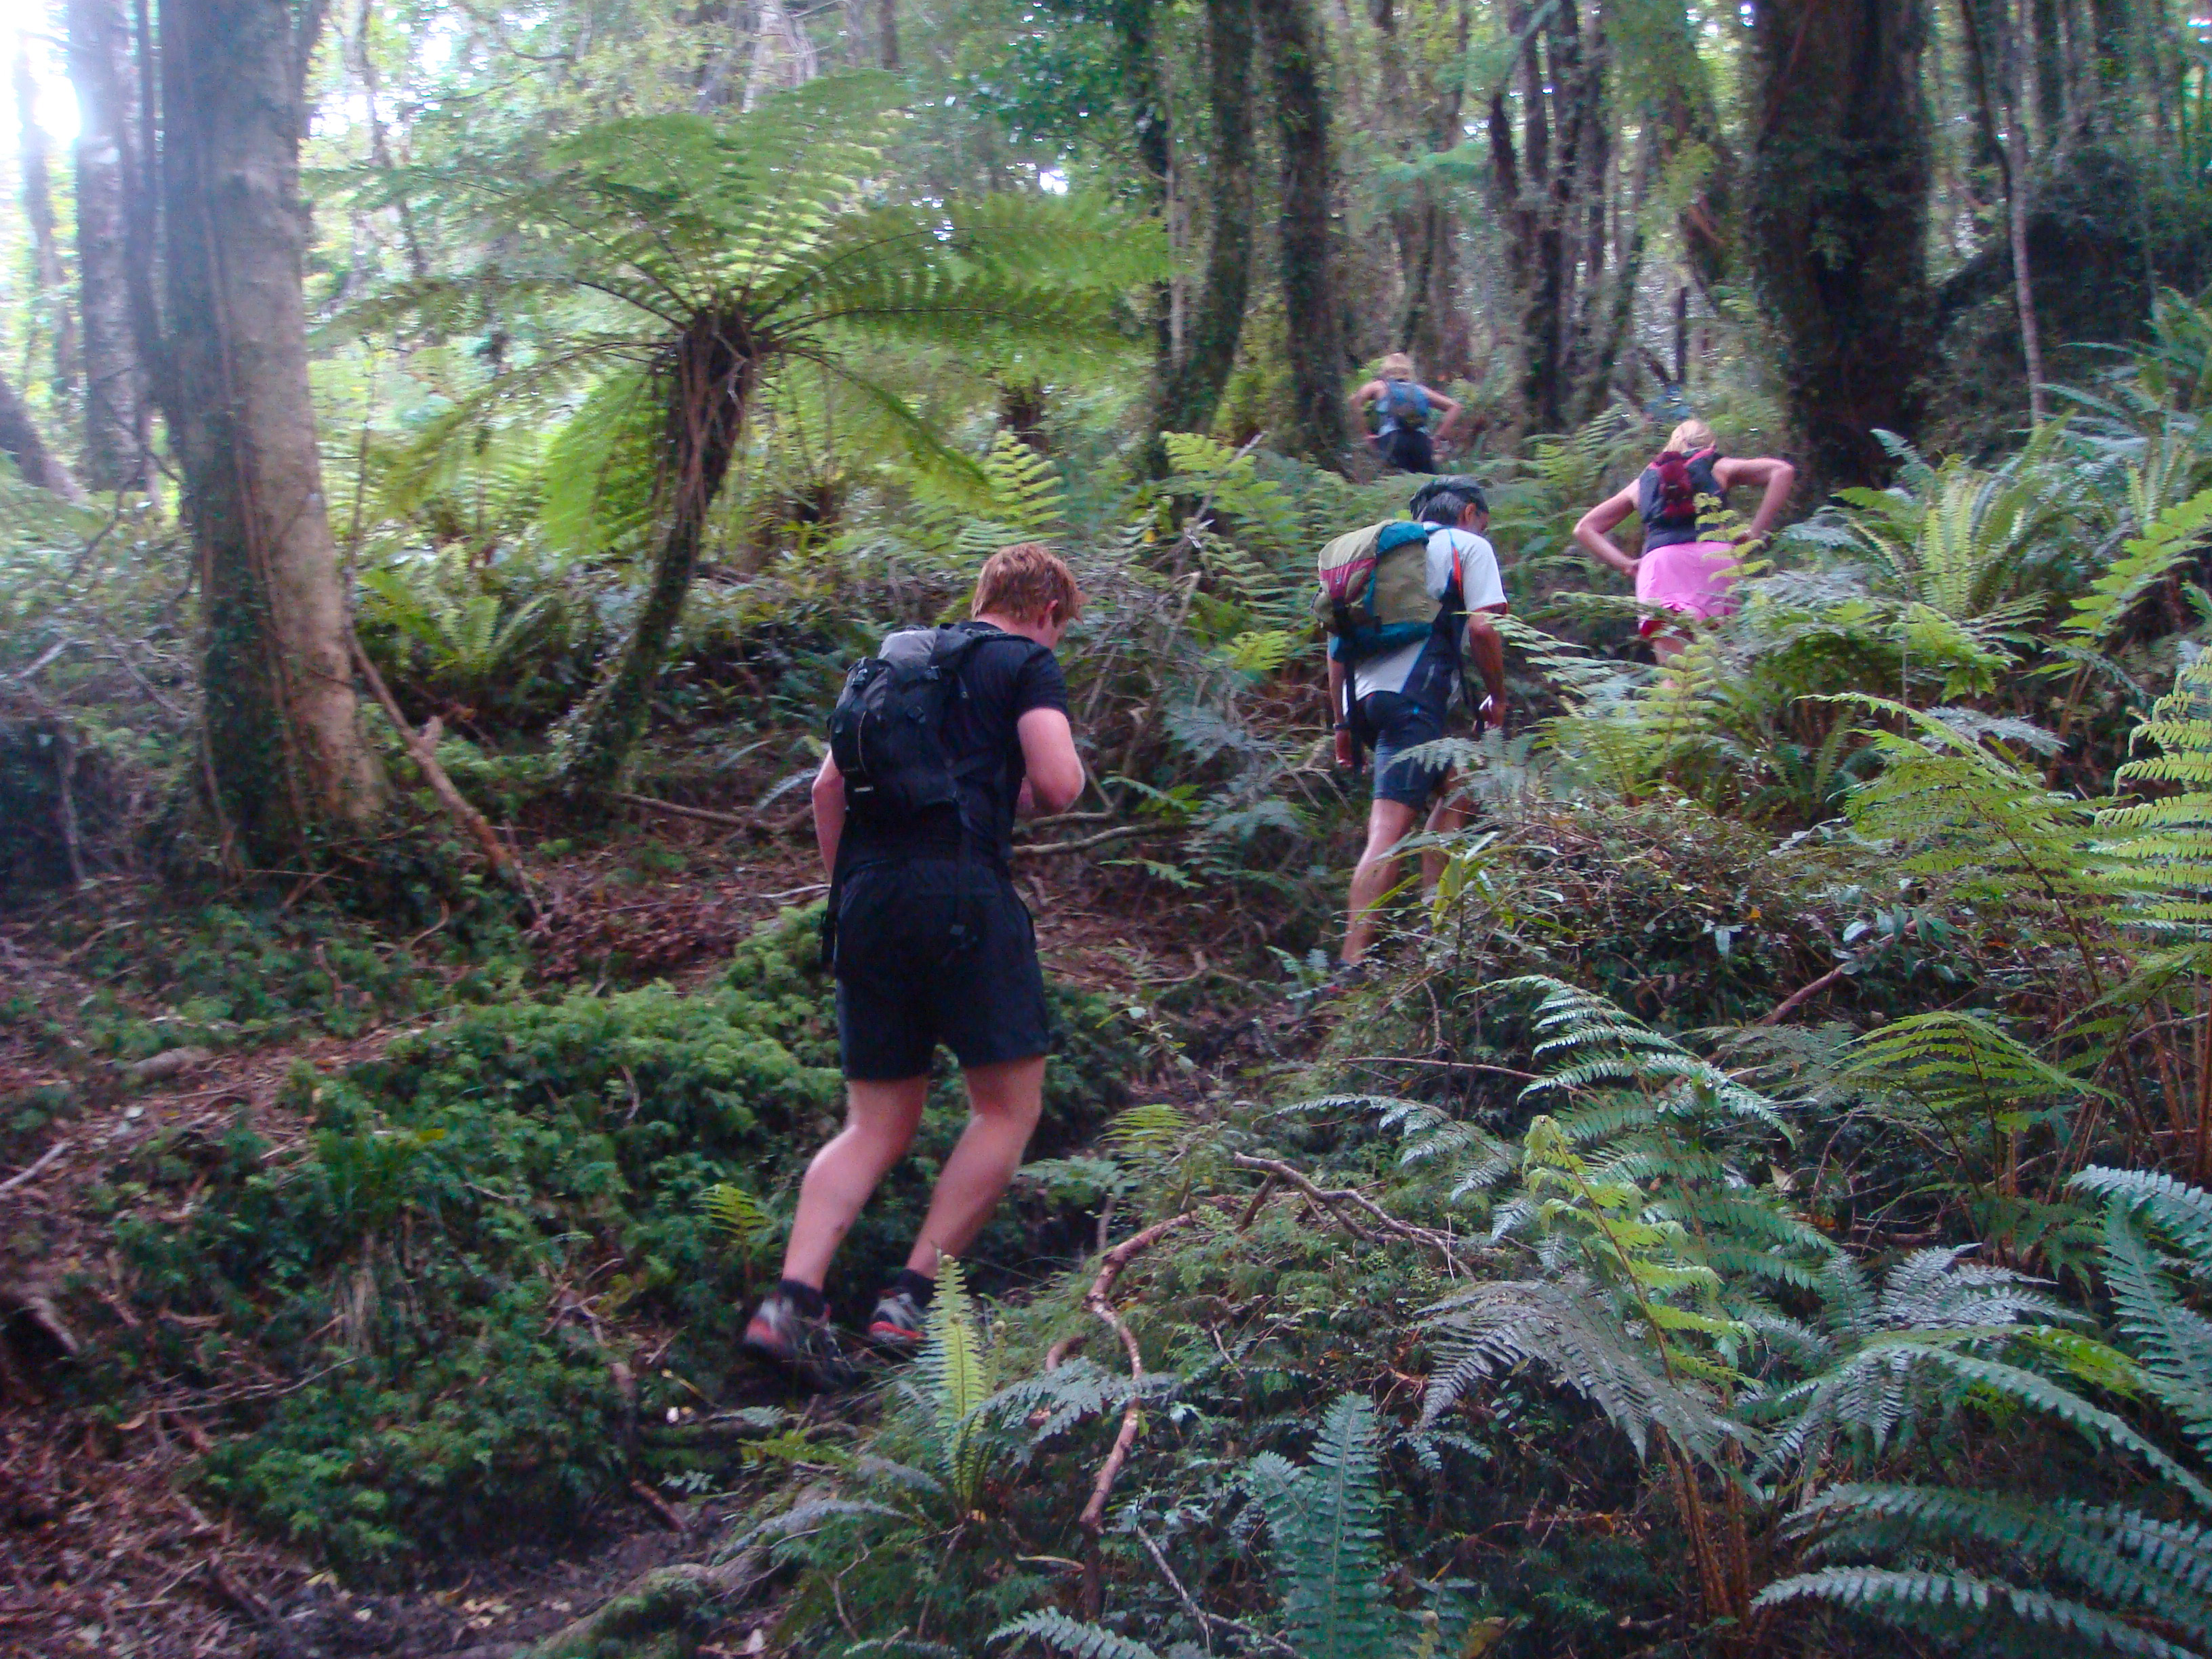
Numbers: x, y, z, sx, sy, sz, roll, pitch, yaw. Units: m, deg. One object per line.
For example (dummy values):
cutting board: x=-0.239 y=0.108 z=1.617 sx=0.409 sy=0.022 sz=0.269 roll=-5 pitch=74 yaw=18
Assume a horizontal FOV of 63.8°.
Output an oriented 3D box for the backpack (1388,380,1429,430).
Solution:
backpack: x=1.693 y=-2.407 z=10.034 sx=0.206 sy=0.235 sz=0.228 roll=4 pitch=15 yaw=26

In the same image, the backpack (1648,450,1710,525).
backpack: x=2.824 y=-1.653 z=8.666 sx=0.319 sy=0.354 sz=0.216 roll=-9 pitch=15 yaw=-23

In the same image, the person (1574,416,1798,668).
person: x=2.876 y=-1.213 z=8.751 sx=0.980 sy=1.721 sz=0.606 roll=-3 pitch=-12 yaw=19

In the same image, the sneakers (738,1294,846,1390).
sneakers: x=-0.977 y=1.655 z=5.752 sx=0.177 sy=0.211 sz=0.476 roll=-17 pitch=-44 yaw=40

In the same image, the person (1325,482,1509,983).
person: x=1.337 y=-0.551 z=7.709 sx=0.764 sy=1.855 sz=1.404 roll=-2 pitch=14 yaw=7

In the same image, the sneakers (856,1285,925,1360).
sneakers: x=-0.672 y=1.584 z=5.754 sx=0.143 sy=0.126 sz=0.291 roll=9 pitch=-26 yaw=-3
